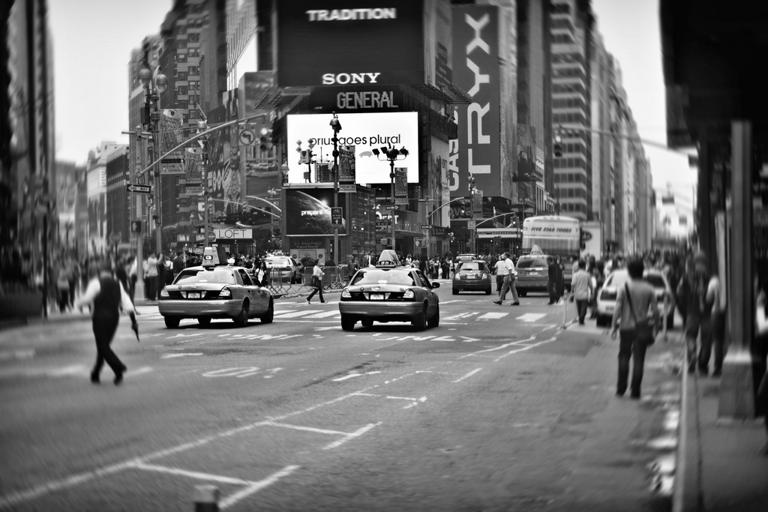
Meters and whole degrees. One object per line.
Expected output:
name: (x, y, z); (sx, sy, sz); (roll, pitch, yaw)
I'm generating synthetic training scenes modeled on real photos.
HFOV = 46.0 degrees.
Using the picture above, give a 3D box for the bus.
bus: (9.548, -0.878, 53.665); (2.495, 3.750, 7.245); (0, 1, 15)

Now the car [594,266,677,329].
car: (7.769, 1.675, 28.613); (2.023, 1.739, 4.909); (0, 3, 10)

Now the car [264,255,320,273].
car: (-6.958, 0.575, 65.998); (1.503, 1.299, 3.593); (0, 4, 15)

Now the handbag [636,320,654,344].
handbag: (4.235, 1.227, 14.716); (0.200, 0.331, 0.501); (-1, 0, 35)
